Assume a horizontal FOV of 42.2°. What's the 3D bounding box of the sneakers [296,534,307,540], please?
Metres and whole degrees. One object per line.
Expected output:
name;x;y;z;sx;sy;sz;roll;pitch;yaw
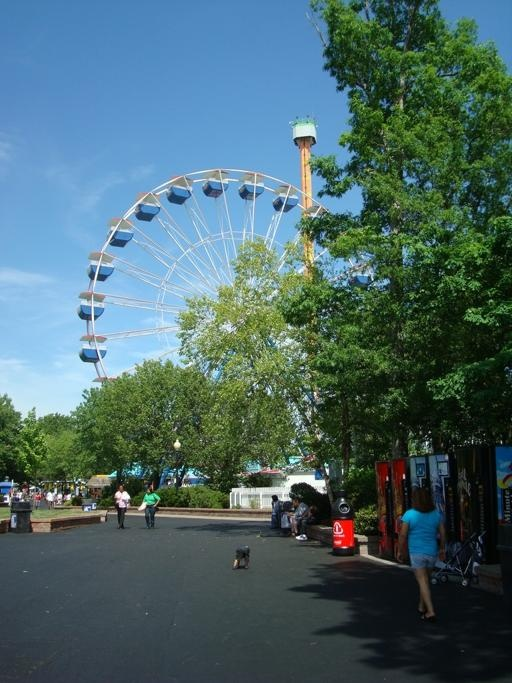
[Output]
sneakers;1.365;6.002;20.456;0.168;0.141;0.354;11;-10;-34

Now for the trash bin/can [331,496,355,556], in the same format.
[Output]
trash bin/can;1.972;4.227;15.159;0.448;1.226;0.638;-5;-10;16

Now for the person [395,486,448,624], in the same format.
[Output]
person;1.975;2.486;7.957;0.530;1.523;1.937;-5;-9;12

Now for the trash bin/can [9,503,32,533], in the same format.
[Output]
trash bin/can;-8.688;6.450;24.468;0.772;1.100;0.849;1;-10;-19
